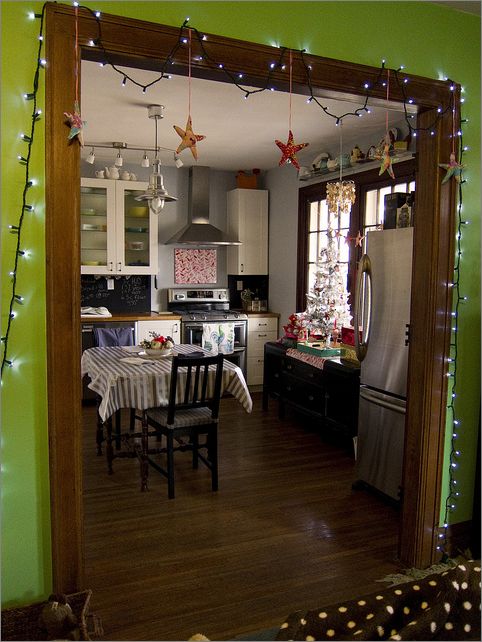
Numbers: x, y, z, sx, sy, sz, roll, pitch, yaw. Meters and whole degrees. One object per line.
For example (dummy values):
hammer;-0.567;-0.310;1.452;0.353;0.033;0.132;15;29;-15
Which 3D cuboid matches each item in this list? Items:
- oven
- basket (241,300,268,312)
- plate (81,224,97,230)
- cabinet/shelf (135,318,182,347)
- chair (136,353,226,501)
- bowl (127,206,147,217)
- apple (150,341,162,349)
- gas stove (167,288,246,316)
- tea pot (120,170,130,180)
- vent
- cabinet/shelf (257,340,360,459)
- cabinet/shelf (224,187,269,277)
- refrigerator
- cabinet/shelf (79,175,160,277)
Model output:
oven;-0.278;0.308;5.868;0.714;1.043;0.704;-2;3;-26
basket;0.155;-0.197;6.496;0.183;0.122;0.188;-1;7;-20
plate;-1.610;-1.012;5.545;0.170;0.071;0.064;1;5;-4
cabinet/shelf;-0.896;0.089;5.620;0.406;0.400;0.279;-1;3;-16
chair;-0.369;0.632;3.375;0.489;0.901;0.617;0;5;-7
bowl;-1.142;-1.206;5.760;0.128;0.069;0.131;0;6;0
apple;-0.608;0.166;3.718;0.054;0.030;0.056;3;11;10
gas stove;-0.459;-0.258;6.260;0.810;0.278;0.536;0;5;-17
tea pot;-1.249;-1.601;5.681;0.110;0.119;0.082;5;1;20
vent;-0.465;-1.375;6.187;0.871;1.072;0.904;-1;4;-14
cabinet/shelf;0.634;0.606;4.470;0.373;0.663;1.243;-4;10;-30
cabinet/shelf;0.075;-1.094;6.386;0.409;1.061;0.279;-6;12;-29
refrigerator;0.842;0.281;3.060;0.146;1.635;0.554;0;5;-8
cabinet/shelf;-1.357;-0.994;5.779;0.931;0.954;0.320;1;6;2
